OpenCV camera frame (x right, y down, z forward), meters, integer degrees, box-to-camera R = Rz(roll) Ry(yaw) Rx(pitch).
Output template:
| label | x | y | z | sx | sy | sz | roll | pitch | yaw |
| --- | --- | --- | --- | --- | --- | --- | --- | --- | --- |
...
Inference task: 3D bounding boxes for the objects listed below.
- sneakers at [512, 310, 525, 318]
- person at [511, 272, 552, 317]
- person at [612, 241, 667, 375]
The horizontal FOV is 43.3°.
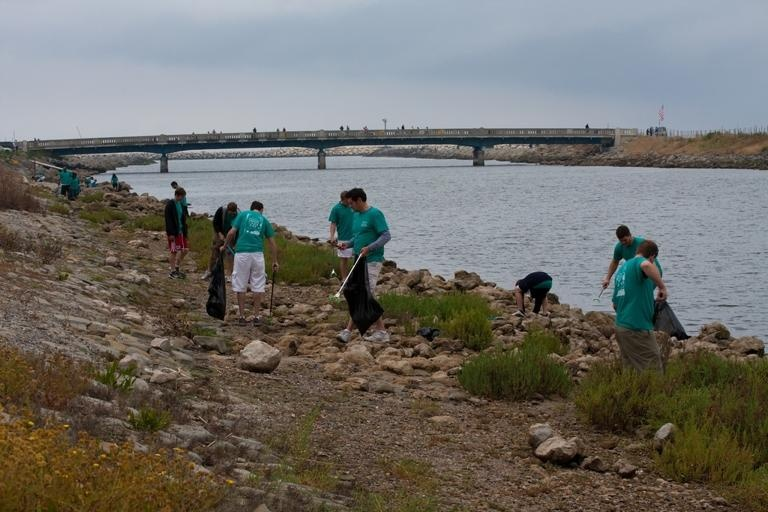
| label | x | y | z | sx | sy | sz | roll | pitch | yaw |
| --- | --- | --- | --- | --- | --- | --- | --- | --- | --- |
| sneakers | 3.119 | 1.343 | 22.304 | 0.265 | 0.123 | 0.120 | 12 | 12 | 20 |
| person | 3.549 | 0.823 | 23.193 | 0.785 | 1.064 | 2.104 | 3 | 9 | 7 |
| person | 4.382 | 0.843 | 16.653 | 0.897 | 2.209 | 0.496 | 7 | 9 | 28 |
